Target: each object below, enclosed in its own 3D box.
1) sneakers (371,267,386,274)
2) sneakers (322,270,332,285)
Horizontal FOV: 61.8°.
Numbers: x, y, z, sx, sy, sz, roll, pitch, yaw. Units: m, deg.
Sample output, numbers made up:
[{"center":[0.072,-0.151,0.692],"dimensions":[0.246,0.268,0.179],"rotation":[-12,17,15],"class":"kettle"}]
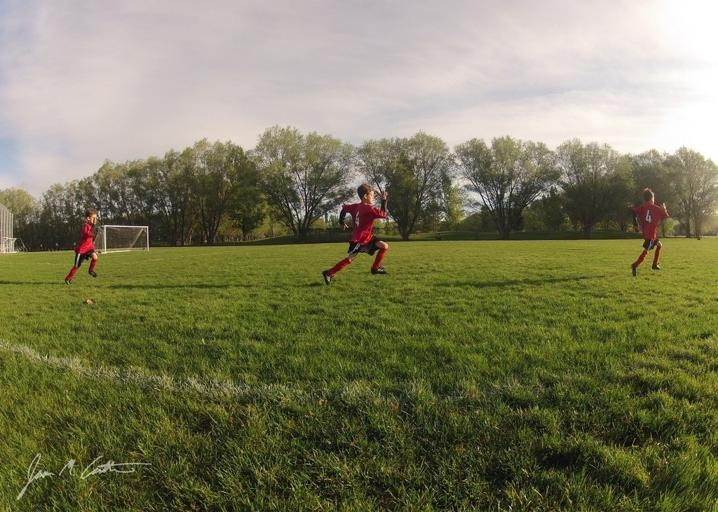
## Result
[{"center":[0.438,0.342,12.968],"dimensions":[0.350,0.169,0.126],"rotation":[3,37,-11],"class":"sneakers"},{"center":[-0.670,0.509,12.713],"dimensions":[0.154,0.391,0.125],"rotation":[5,18,40],"class":"sneakers"}]
